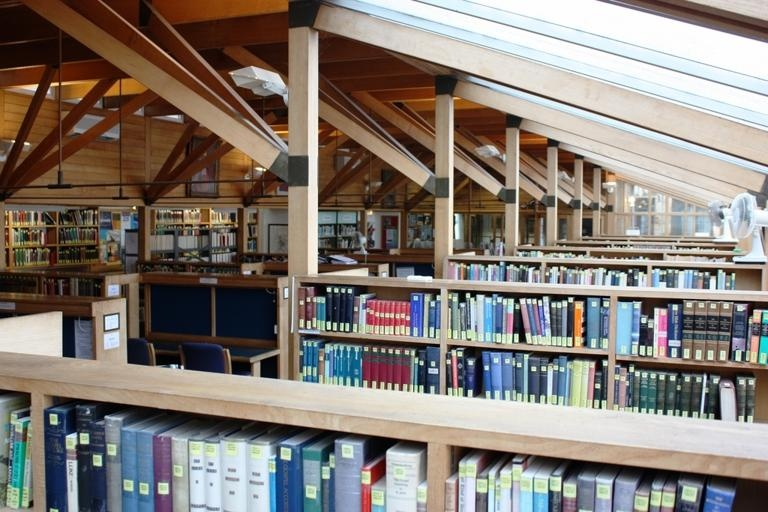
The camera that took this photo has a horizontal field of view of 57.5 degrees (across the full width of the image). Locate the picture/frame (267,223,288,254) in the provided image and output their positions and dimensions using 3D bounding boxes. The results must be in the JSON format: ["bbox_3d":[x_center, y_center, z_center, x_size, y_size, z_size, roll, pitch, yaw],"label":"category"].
[{"bbox_3d":[-3.092,-0.522,20.054,0.928,1.009,0.096,-2,4,-44],"label":"picture/frame"}]

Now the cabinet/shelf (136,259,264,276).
[{"bbox_3d":[-2.993,0.164,11.189,2.259,0.194,0.556,3,6,23],"label":"cabinet/shelf"}]

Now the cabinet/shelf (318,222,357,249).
[{"bbox_3d":[-1.435,-0.649,21.923,0.555,0.717,1.843,3,6,26],"label":"cabinet/shelf"}]

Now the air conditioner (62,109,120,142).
[{"bbox_3d":[-5.442,-2.416,13.020,0.470,0.487,0.866,2,5,20],"label":"air conditioner"}]

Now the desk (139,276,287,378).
[{"bbox_3d":[-1.771,0.767,7.573,1.309,0.969,0.456,1,-1,20],"label":"desk"}]

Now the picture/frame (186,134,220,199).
[{"bbox_3d":[-3.837,-1.863,14.723,0.666,1.261,2.262,-1,5,-13],"label":"picture/frame"}]
